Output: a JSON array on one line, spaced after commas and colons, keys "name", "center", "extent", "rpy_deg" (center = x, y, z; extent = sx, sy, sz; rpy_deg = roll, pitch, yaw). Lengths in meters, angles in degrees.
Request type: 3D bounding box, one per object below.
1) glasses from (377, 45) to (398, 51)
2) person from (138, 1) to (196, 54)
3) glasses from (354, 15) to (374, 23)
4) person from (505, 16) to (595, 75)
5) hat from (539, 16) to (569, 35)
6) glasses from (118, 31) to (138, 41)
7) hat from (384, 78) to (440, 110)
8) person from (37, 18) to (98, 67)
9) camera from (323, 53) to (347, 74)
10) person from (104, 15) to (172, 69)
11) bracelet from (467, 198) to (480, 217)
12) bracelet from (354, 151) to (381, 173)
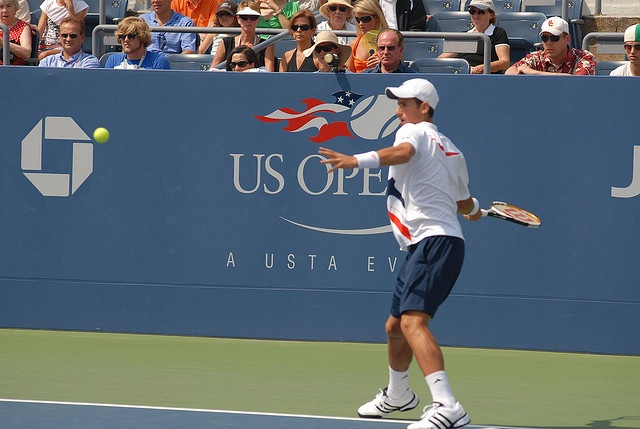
[{"name": "glasses", "center": [0.700, -1.811, 13.924], "extent": [0.185, 0.063, 0.062], "rpy_deg": [2, 6, 10]}, {"name": "person", "center": [-1.864, -2.311, 15.984], "extent": [0.659, 0.877, 0.449], "rpy_deg": [-10, -25, -4]}, {"name": "glasses", "center": [0.463, -2.238, 14.663], "extent": [0.262, 0.086, 0.117], "rpy_deg": [7, 9, 42]}, {"name": "person", "center": [2.628, -1.904, 14.483], "extent": [0.812, 0.605, 0.321], "rpy_deg": [2, 6, 12]}, {"name": "hat", "center": [2.577, -2.123, 14.471], "extent": [0.295, 0.211, 0.277], "rpy_deg": [1, 6, 0]}, {"name": "glasses", "center": [-2.135, -2.006, 14.424], "extent": [0.210, 0.072, 0.074], "rpy_deg": [4, 7, 22]}, {"name": "hat", "center": [0.866, -1.213, 12.281], "extent": [0.396, 0.226, 0.267], "rpy_deg": [17, 3, -13]}, {"name": "person", "center": [-2.849, -1.936, 14.931], "extent": [0.788, 0.683, 0.367], "rpy_deg": [4, 3, 15]}, {"name": "camera", "center": [0.139, -1.657, 14.032], "extent": [0.129, 0.178, 0.289], "rpy_deg": [-15, -12, 6]}, {"name": "person", "center": [-2.082, -1.911, 14.618], "extent": [0.762, 0.781, 0.471], "rpy_deg": [3, 14, 12]}, {"name": "bracelet", "center": [1.484, -0.070, 12.675], "extent": [0.141, 0.147, 0.106], "rpy_deg": [-39, -8, 25]}, {"name": "bracelet", "center": [0.421, -0.502, 11.939], "extent": [0.200, 0.143, 0.098], "rpy_deg": [-4, -6, -3]}]
